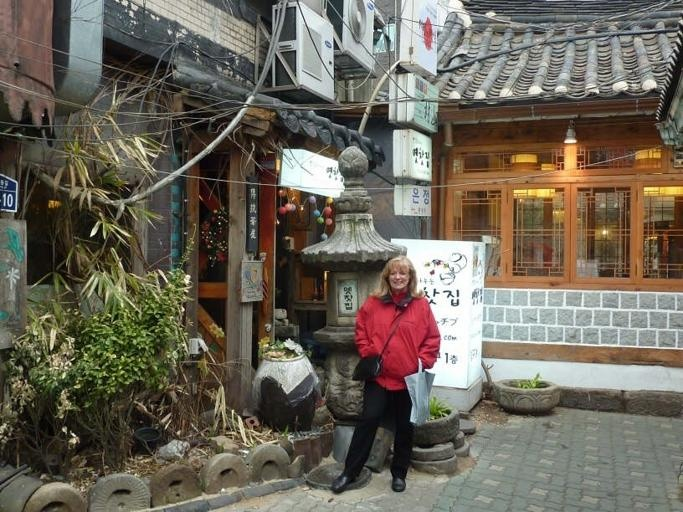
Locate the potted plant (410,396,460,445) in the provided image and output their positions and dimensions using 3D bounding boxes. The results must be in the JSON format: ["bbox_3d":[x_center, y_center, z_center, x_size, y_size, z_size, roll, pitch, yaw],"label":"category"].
[{"bbox_3d":[1.246,2.116,8.454,0.627,0.555,0.611,14,6,19],"label":"potted plant"}]

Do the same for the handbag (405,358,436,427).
[{"bbox_3d":[0.871,1.533,7.561,0.452,0.744,0.182,-2,8,-43],"label":"handbag"}]

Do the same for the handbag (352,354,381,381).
[{"bbox_3d":[0.288,1.275,7.604,0.353,0.301,0.137,-5,-20,44],"label":"handbag"}]

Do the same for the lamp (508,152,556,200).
[{"bbox_3d":[3.445,-1.416,12.250,0.565,0.892,0.499,3,5,26],"label":"lamp"}]

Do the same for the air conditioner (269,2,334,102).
[{"bbox_3d":[-0.533,-3.111,10.243,0.518,1.308,1.114,8,7,39],"label":"air conditioner"}]

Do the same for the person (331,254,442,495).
[{"bbox_3d":[0.536,1.330,7.698,1.030,2.617,0.592,3,-11,2],"label":"person"}]
